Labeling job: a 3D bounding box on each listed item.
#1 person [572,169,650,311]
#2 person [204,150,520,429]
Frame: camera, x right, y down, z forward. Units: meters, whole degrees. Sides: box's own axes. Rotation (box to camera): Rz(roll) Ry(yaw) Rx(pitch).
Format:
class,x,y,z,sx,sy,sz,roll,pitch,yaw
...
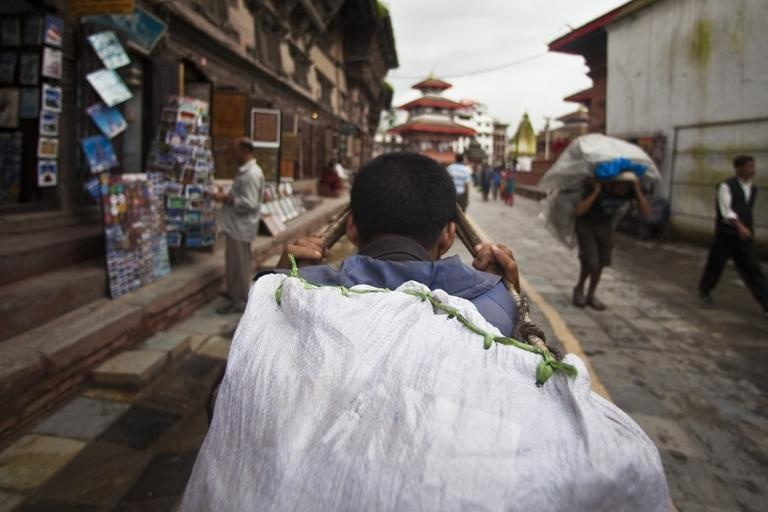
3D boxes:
class,x,y,z,sx,sy,sz,roll,pitch,yaw
person,2.708,-0.173,5.764,0.740,1.624,0.646,6,13,23
person,0.056,-0.079,2.077,1.127,0.732,0.653,3,13,10
